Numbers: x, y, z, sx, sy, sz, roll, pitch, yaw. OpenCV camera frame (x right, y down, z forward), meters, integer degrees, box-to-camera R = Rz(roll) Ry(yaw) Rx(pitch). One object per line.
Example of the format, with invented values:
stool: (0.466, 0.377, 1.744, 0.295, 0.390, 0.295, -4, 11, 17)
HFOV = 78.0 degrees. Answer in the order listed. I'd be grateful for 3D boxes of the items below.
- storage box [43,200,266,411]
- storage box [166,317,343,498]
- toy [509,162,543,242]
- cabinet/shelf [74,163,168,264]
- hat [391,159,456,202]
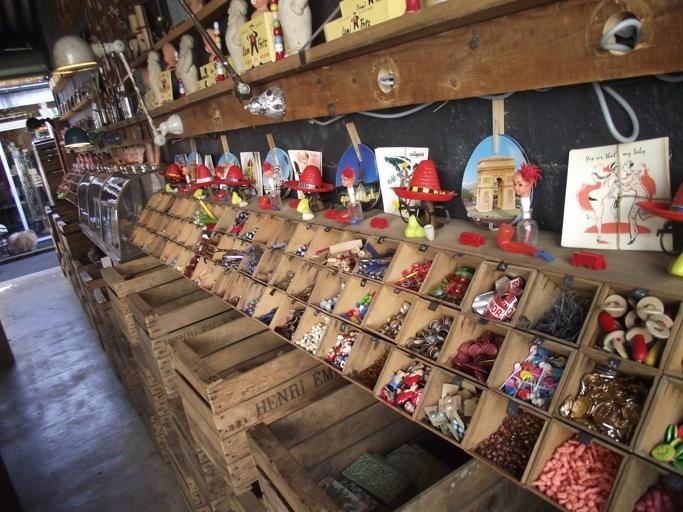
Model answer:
storage box: (-1.917, 0.521, 4.159, 1.465, 1.196, 2.562, -17, 28, -35)
storage box: (-0.655, 0.800, 2.936, 1.205, 0.720, 1.149, -16, 26, -35)
toy: (0.772, -0.229, 1.764, 0.108, 0.322, 0.222, 4, 15, 24)
cabinet/shelf: (-2.542, -0.507, 4.888, 0.543, 0.976, 1.490, -11, 19, -40)
hat: (0.412, -0.357, 2.018, 0.348, 0.190, 0.380, -3, 9, 20)
